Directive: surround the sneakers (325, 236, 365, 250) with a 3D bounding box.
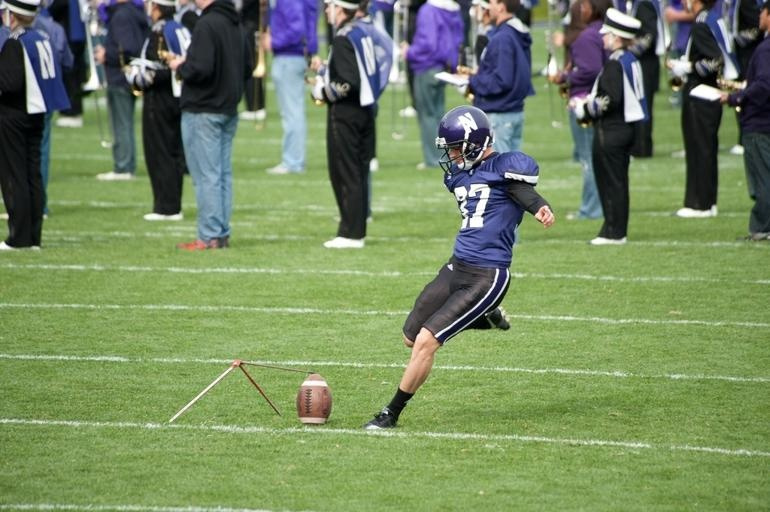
[{"bbox_3d":[-0.480,-0.166,19.218,0.468,0.170,0.163,2,2,-2],"label":"sneakers"}]

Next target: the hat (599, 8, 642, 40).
[{"bbox_3d":[2.642,-2.630,18.433,0.408,0.253,0.322,1,38,6],"label":"hat"}]

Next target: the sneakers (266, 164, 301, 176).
[{"bbox_3d":[-1.240,-1.065,19.998,0.412,0.169,0.140,1,3,-21],"label":"sneakers"}]

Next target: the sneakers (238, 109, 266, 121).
[{"bbox_3d":[-1.670,-1.764,20.388,0.392,0.167,0.132,1,6,0],"label":"sneakers"}]

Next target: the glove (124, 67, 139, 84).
[{"bbox_3d":[-3.094,-2.207,19.861,0.162,0.227,0.076,1,2,42],"label":"glove"}]

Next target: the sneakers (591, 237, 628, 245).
[{"bbox_3d":[2.622,-0.214,19.146,0.401,0.159,0.135,2,4,5],"label":"sneakers"}]

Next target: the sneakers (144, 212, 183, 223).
[{"bbox_3d":[-2.762,-0.495,20.256,0.462,0.184,0.170,3,4,5],"label":"sneakers"}]

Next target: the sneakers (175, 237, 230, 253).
[{"bbox_3d":[-2.117,-0.168,18.833,0.585,0.219,0.209,1,2,3],"label":"sneakers"}]

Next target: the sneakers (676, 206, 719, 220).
[{"bbox_3d":[3.831,-0.553,20.177,0.471,0.199,0.176,2,10,11],"label":"sneakers"}]

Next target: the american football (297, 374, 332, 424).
[{"bbox_3d":[-0.663,1.286,15.008,0.346,0.454,0.336,3,-3,-40],"label":"american football"}]

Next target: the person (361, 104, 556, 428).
[{"bbox_3d":[0.751,0.070,14.963,1.436,2.798,0.840,-2,11,-2],"label":"person"}]

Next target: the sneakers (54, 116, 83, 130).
[{"bbox_3d":[-5.394,-2.287,27.916,0.512,0.215,0.189,4,7,2],"label":"sneakers"}]

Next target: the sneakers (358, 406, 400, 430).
[{"bbox_3d":[-0.046,1.447,14.911,0.398,0.168,0.144,-3,18,-20],"label":"sneakers"}]

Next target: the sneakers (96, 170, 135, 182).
[{"bbox_3d":[-3.740,-1.106,22.523,0.405,0.126,0.213,4,3,3],"label":"sneakers"}]

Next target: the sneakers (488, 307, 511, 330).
[{"bbox_3d":[1.042,0.550,15.150,0.110,0.260,0.162,-31,46,-3],"label":"sneakers"}]
